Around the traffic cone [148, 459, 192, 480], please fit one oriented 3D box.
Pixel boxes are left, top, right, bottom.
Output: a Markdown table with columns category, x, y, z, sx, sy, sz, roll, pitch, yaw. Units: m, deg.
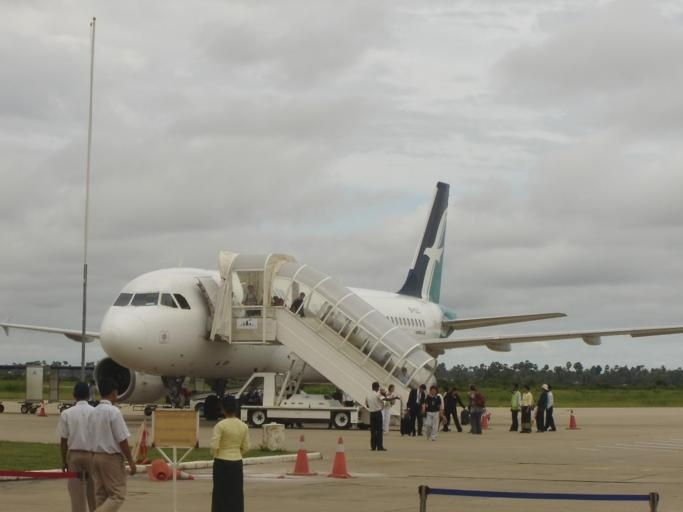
| category | x | y | z | sx | sy | sz | roll | pitch | yaw |
| --- | --- | --- | --- | --- | --- | --- | --- | --- | --- |
| traffic cone | -3.808 | 4.735 | 25.266 | 0.883 | 0.436 | 0.557 | 2 | -8 | -12 |

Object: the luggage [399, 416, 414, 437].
| category | x | y | z | sx | sy | sz | roll | pitch | yaw |
| --- | --- | --- | --- | --- | --- | --- | --- | --- | --- |
| luggage | 1.913 | 5.546 | 37.394 | 0.330 | 0.669 | 0.994 | 0 | -8 | 4 |

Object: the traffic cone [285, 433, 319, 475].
| category | x | y | z | sx | sy | sz | roll | pitch | yaw |
| --- | --- | --- | --- | --- | --- | --- | --- | --- | --- |
| traffic cone | -0.975 | 4.536 | 25.970 | 0.801 | 0.852 | 0.797 | 0 | -5 | -1 |

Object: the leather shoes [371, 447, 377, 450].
| category | x | y | z | sx | sy | sz | roll | pitch | yaw |
| --- | --- | --- | --- | --- | --- | --- | --- | --- | --- |
| leather shoes | 0.735 | 5.281 | 31.163 | 0.142 | 0.051 | 0.164 | 0 | -8 | 1 |
